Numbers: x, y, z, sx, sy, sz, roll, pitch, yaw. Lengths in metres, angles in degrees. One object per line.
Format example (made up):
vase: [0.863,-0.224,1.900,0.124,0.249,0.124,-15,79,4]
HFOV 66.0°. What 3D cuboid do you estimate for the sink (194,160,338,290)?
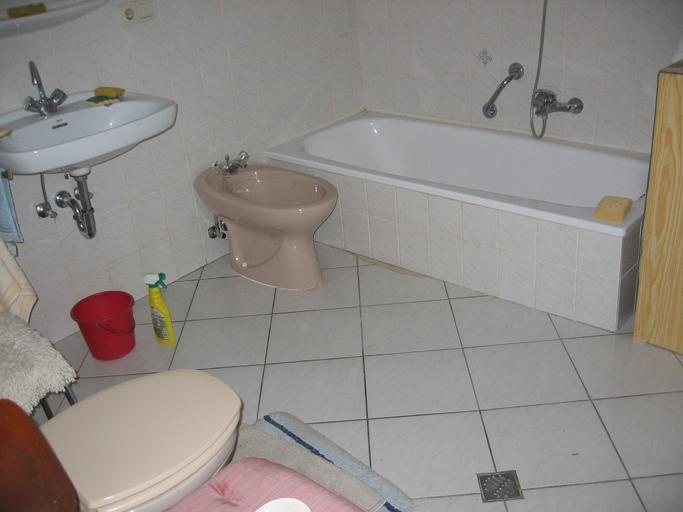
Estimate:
sink: [-0.359,-0.170,2.965,0.814,0.580,0.539,20,44,21]

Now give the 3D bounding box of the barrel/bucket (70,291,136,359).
barrel/bucket: [-1.109,0.312,2.549,0.302,0.251,0.318,-1,22,0]
